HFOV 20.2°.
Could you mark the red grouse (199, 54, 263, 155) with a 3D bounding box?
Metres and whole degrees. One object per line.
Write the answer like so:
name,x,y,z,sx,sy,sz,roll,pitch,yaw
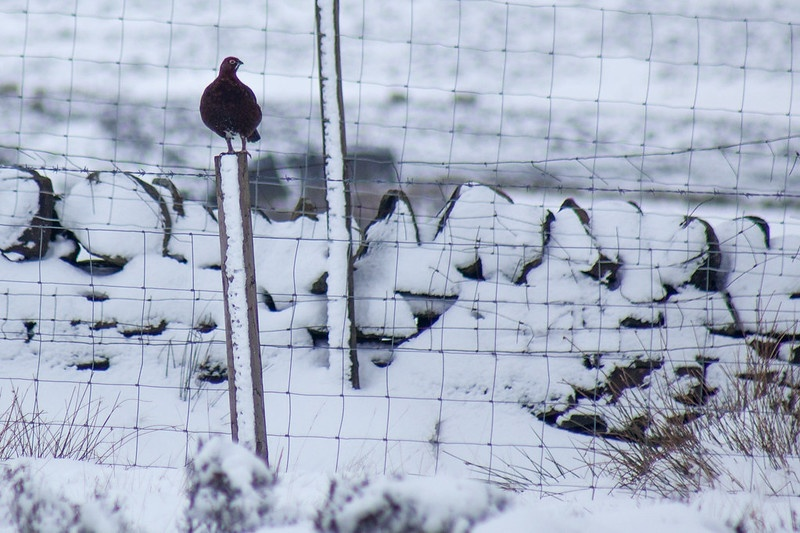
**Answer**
red grouse,-2.180,-2.097,29.015,0.810,1.246,0.830,1,-6,-4
